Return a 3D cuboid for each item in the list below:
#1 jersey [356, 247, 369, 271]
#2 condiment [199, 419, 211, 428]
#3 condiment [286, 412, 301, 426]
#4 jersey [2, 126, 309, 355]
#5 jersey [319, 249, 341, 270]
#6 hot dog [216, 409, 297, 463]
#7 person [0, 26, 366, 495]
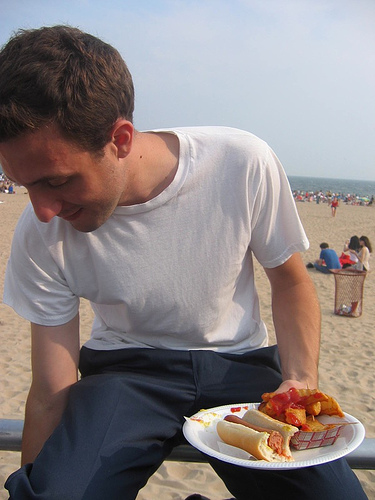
[{"bbox_3d":[3.942,0.202,11.279,0.258,0.477,0.732,2,10,18],"label":"jersey"},{"bbox_3d":[0.057,0.571,1.630,0.010,0.022,0.024,-28,-4,28],"label":"condiment"},{"bbox_3d":[0.334,0.536,1.569,0.024,0.044,0.014,-49,-8,27],"label":"condiment"},{"bbox_3d":[-0.125,-0.007,1.912,1.114,0.875,0.359,-4,12,-16],"label":"jersey"},{"bbox_3d":[3.428,0.253,12.136,0.430,0.510,0.291,-26,-12,10],"label":"jersey"},{"bbox_3d":[0.207,0.593,1.598,0.168,0.086,0.295,-5,4,-34],"label":"hot dog"},{"bbox_3d":[-0.086,0.079,1.784,1.151,1.645,0.887,-5,12,-16],"label":"person"}]
